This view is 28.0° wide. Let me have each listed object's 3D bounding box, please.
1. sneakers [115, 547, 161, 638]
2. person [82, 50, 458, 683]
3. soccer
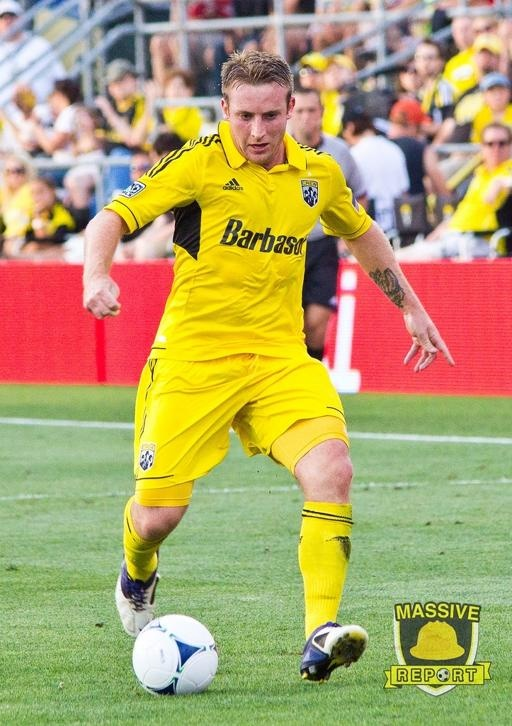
[{"bbox_3d":[-0.383,0.712,3.177,0.103,0.244,0.117,7,2,-15],"label":"sneakers"},{"bbox_3d":[0.024,-0.018,3.008,1.131,1.731,0.862,-4,5,-18],"label":"person"},{"bbox_3d":[-0.217,0.769,2.737,0.224,0.163,0.195,-2,4,-3],"label":"soccer"}]
